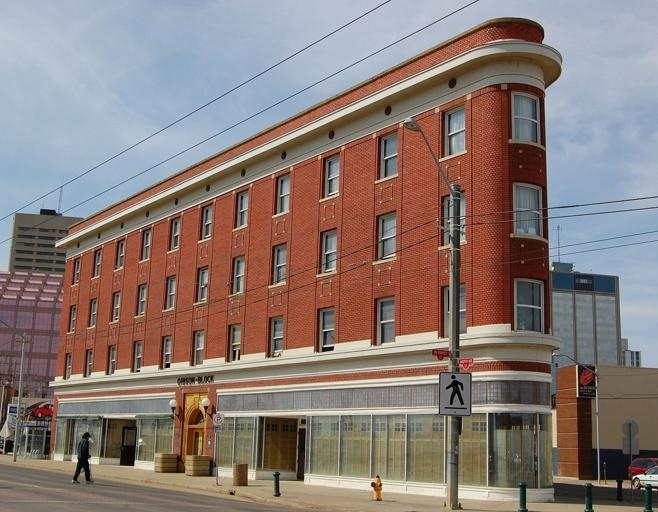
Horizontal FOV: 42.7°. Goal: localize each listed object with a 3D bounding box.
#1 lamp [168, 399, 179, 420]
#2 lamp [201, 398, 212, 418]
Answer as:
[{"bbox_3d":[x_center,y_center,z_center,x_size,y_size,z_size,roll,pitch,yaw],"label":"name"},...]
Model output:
[{"bbox_3d":[-9.683,9.465,52.321,0.569,1.158,2.201,2,-17,-10],"label":"lamp"},{"bbox_3d":[-7.294,8.963,49.907,0.689,1.103,2.507,1,-17,-9],"label":"lamp"}]
